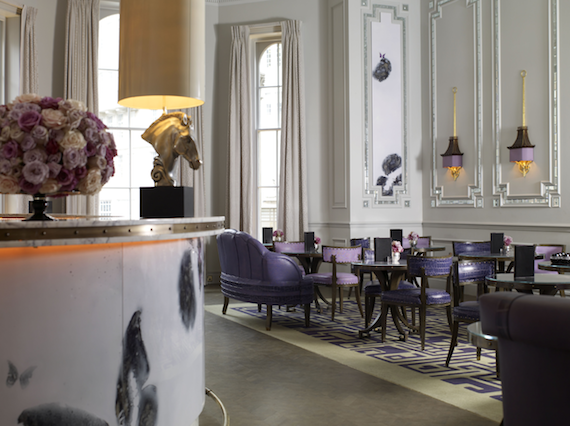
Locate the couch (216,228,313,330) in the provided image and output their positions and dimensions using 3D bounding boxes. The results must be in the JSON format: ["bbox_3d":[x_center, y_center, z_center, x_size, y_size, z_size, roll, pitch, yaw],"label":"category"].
[{"bbox_3d":[-0.373,0.811,6.278,0.865,1.268,1.532,-1,1,-34],"label":"couch"}]

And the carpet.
[{"bbox_3d":[0.983,1.293,4.425,0.030,0.747,2.270,2,-2,-32],"label":"carpet"}]

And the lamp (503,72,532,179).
[{"bbox_3d":[3.288,-1.244,6.786,0.221,1.478,0.380,-1,1,-14],"label":"lamp"}]

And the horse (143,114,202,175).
[{"bbox_3d":[-0.616,-0.330,2.591,0.311,0.425,0.125,7,-18,-15],"label":"horse"}]

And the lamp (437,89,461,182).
[{"bbox_3d":[2.675,-1.258,7.747,0.193,1.462,0.297,-1,1,-35],"label":"lamp"}]

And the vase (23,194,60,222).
[{"bbox_3d":[-1.133,-0.023,2.223,0.130,0.148,0.128,-2,-6,-38],"label":"vase"}]
